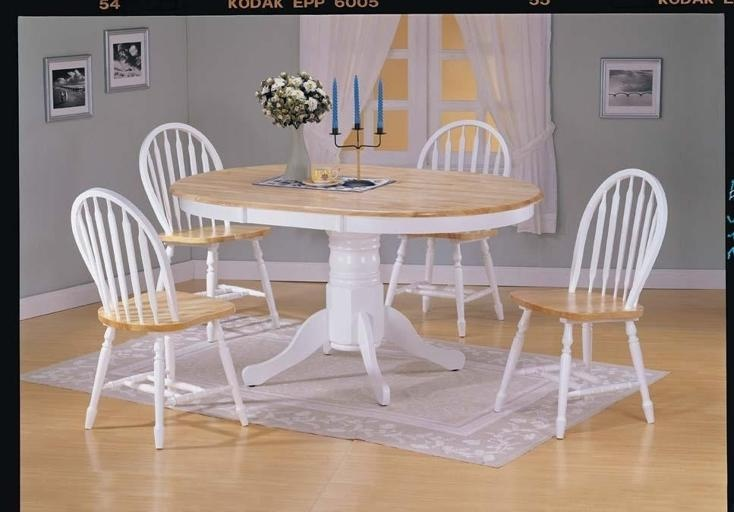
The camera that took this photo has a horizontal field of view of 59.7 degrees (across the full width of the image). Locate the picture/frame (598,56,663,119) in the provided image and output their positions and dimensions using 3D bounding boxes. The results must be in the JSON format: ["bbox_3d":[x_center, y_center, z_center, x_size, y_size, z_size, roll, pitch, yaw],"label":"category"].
[{"bbox_3d":[1.907,-1.230,4.618,0.524,0.440,0.049,1,9,5],"label":"picture/frame"}]

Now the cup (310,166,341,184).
[{"bbox_3d":[-0.216,-0.410,3.257,0.112,0.066,0.147,-3,11,-22],"label":"cup"}]

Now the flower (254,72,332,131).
[{"bbox_3d":[-0.391,-0.778,3.279,0.349,0.211,0.318,-5,14,-17],"label":"flower"}]
